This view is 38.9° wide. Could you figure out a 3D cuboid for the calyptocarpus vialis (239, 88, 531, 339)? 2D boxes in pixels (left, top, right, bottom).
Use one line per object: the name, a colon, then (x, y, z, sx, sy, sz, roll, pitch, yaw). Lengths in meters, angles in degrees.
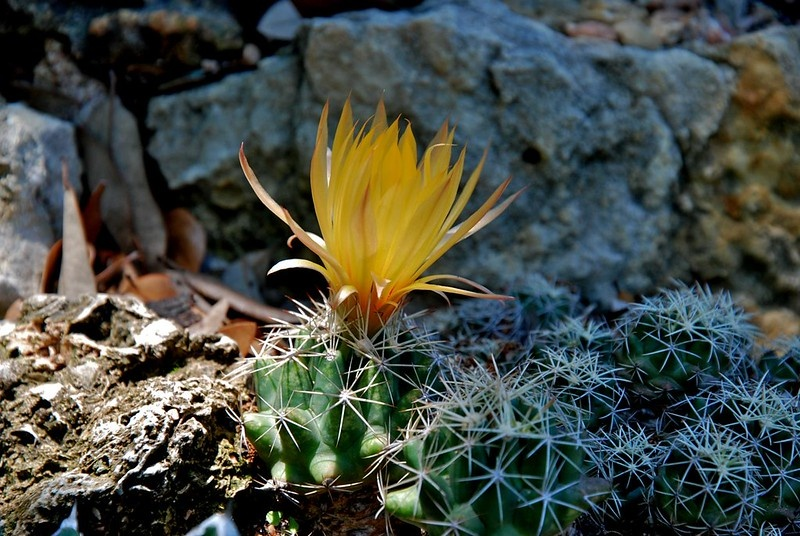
calyptocarpus vialis: (-0.063, -0.168, 3.687, 0.739, 0.670, 0.444, -2, 32, -4)
